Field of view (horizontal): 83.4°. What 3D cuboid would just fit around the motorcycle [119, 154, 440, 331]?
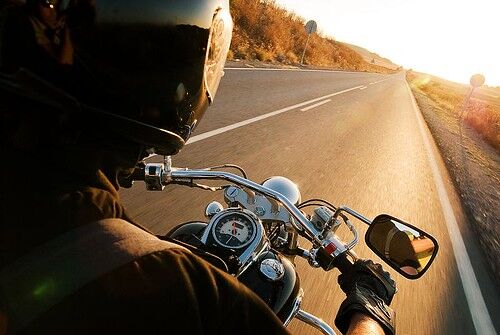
[{"bbox_3d":[0.230,0.462,1.845,1.116,0.741,0.843,37,-19,8],"label":"motorcycle"}]
